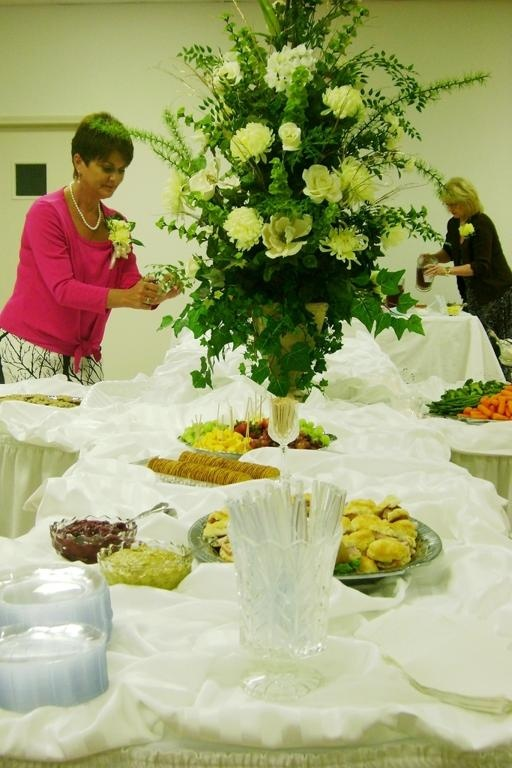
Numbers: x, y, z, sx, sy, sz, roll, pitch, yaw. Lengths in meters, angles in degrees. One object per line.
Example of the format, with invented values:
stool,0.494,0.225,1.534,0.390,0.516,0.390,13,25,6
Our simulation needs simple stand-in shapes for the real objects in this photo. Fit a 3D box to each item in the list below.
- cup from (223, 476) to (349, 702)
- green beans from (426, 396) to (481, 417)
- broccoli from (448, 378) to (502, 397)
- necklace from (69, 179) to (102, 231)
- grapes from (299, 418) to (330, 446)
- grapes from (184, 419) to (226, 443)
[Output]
cup,0.031,0.186,0.620,0.072,0.184,0.119,1,2,40
green beans,0.635,0.075,2.094,0.109,0.036,0.082,-10,18,11
broccoli,0.750,0.014,2.261,0.111,0.027,0.113,4,12,42
necklace,-0.574,-0.590,2.172,0.018,0.152,0.119,-26,26,-26
grapes,0.148,0.119,1.651,0.074,0.034,0.071,23,13,11
grapes,-0.141,0.122,1.667,0.070,0.028,0.072,4,24,45
